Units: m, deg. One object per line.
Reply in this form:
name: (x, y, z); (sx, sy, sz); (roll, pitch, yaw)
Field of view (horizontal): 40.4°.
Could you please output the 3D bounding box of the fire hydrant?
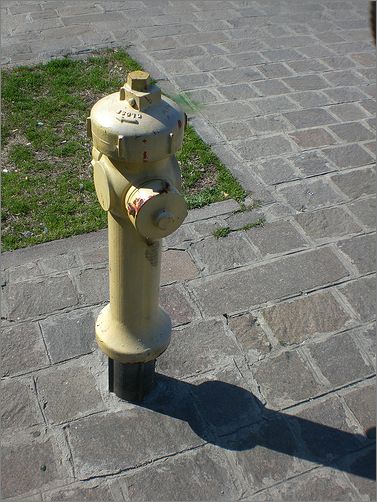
fire hydrant: (-0.231, 0.092, 2.435); (0.395, 1.832, 0.515); (-23, 42, -33)
